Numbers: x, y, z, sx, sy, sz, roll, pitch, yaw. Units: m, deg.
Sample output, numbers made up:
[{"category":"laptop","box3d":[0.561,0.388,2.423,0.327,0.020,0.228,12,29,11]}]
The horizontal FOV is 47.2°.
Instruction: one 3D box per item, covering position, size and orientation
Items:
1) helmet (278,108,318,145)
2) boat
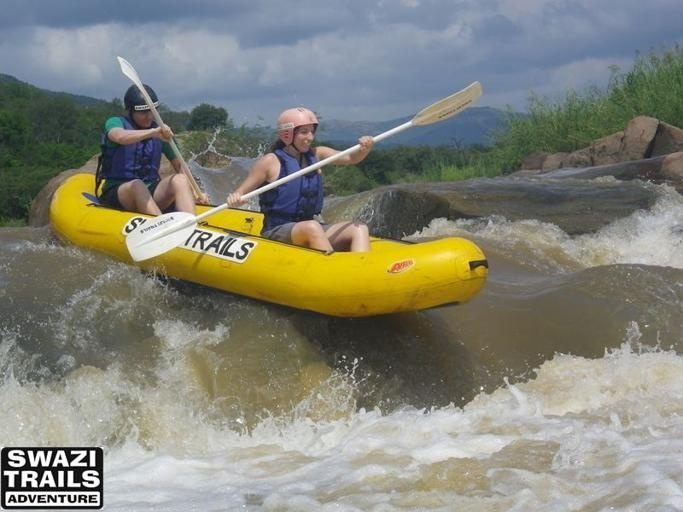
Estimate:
[{"category":"helmet","box3d":[-0.457,-1.245,7.550,0.361,0.282,0.282,-5,9,11]},{"category":"boat","box3d":[-1.322,-0.028,8.152,5.473,0.975,1.638,12,17,28]}]
